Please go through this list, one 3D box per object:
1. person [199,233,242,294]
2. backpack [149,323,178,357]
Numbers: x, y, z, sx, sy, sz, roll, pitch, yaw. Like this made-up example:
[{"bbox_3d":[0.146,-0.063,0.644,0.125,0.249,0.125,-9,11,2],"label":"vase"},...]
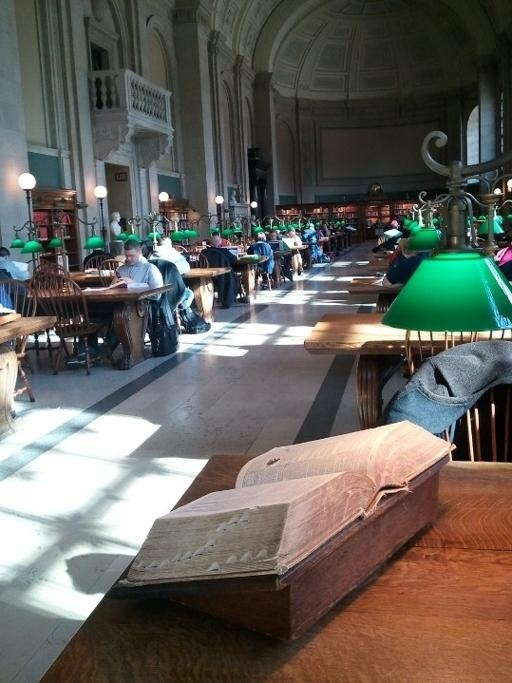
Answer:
[{"bbox_3d":[-0.531,-1.479,8.972,0.872,1.020,0.704,7,23,22],"label":"person"},{"bbox_3d":[-1.124,-0.022,6.048,0.227,0.377,0.412,-2,4,29],"label":"backpack"}]
